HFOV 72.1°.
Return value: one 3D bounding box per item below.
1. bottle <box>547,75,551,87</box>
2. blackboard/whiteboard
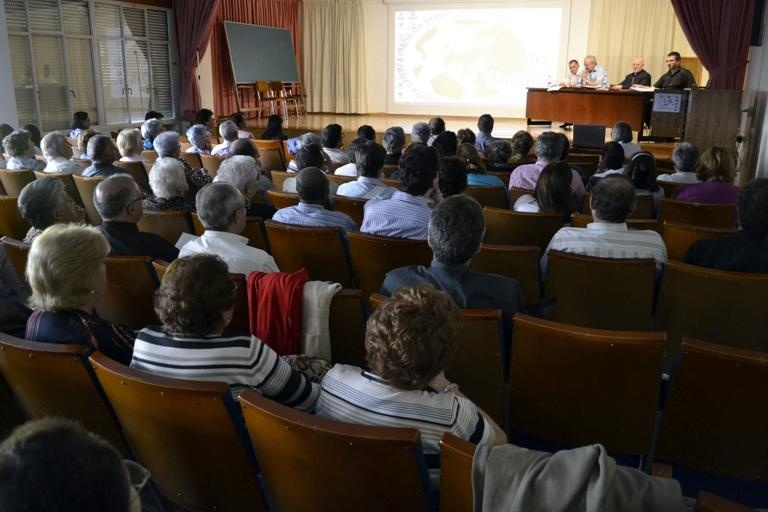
[{"bbox_3d":[3.939,-4.204,12.538,0.070,0.173,0.114,-3,15,-4],"label":"bottle"},{"bbox_3d":[-2.912,-4.804,12.600,0.465,1.335,2.216,6,18,27],"label":"blackboard/whiteboard"}]
